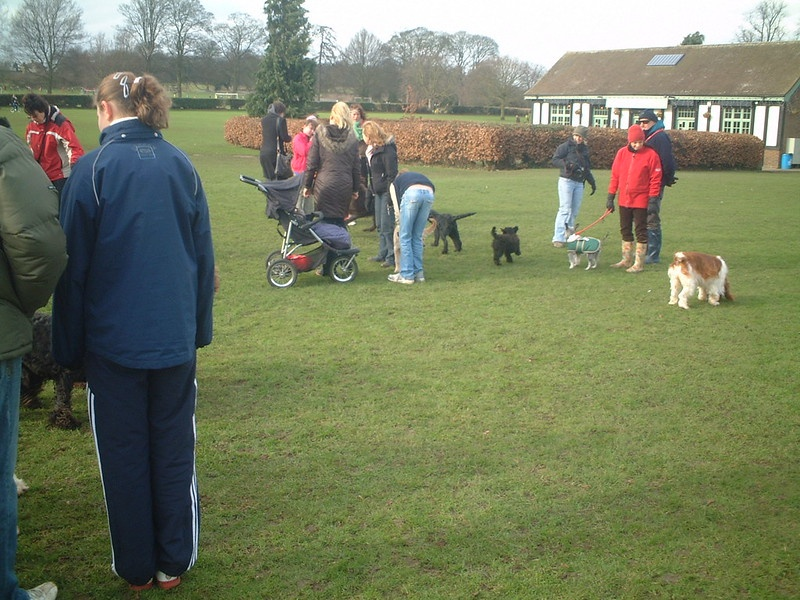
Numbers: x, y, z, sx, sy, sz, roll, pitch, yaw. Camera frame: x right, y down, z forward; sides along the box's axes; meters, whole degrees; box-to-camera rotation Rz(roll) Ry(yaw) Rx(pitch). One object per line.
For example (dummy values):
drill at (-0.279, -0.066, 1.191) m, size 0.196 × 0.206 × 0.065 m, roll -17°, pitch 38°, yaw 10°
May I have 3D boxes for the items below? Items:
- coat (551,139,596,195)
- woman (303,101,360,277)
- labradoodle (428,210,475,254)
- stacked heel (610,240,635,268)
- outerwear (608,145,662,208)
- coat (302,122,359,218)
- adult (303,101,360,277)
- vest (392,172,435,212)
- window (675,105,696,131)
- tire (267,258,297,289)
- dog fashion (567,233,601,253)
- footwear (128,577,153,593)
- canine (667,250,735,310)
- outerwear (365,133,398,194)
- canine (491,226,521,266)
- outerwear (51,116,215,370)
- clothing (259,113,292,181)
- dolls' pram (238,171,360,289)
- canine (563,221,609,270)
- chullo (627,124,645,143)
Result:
coat at (2.854, -2.275, 16.830) m, size 0.540 × 0.756 × 0.844 m, roll 5°, pitch 13°, yaw 20°
woman at (-0.938, -1.668, 14.783) m, size 0.693 × 2.360 × 0.740 m, roll 17°, pitch 23°, yaw 30°
labradoodle at (0.784, -1.135, 16.743) m, size 1.037 × 0.499 × 0.328 m, roll -10°, pitch 6°, yaw -12°
stacked heel at (3.454, -0.710, 15.883) m, size 0.420 × 0.527 × 0.173 m, roll 15°, pitch 36°, yaw 23°
outerwear at (3.419, -1.774, 14.936) m, size 0.765 × 0.935 × 0.411 m, roll 6°, pitch 13°, yaw 25°
coat at (-0.934, -1.630, 14.693) m, size 0.816 × 1.823 × 0.533 m, roll 0°, pitch 21°, yaw -17°
adult at (-0.958, -1.703, 14.783) m, size 0.774 × 2.370 × 0.714 m, roll -17°, pitch 32°, yaw -40°
vest at (0.103, -1.556, 14.083) m, size 0.373 × 0.521 × 0.237 m, roll 6°, pitch 44°, yaw -14°
window at (11.908, -7.623, 42.676) m, size 0.263 × 0.946 × 1.438 m, roll -5°, pitch 13°, yaw -21°
tire at (-1.614, -0.389, 14.078) m, size 0.280 × 0.285 × 0.109 m, roll 32°, pitch 9°, yaw -24°
dog fashion at (2.765, -0.847, 15.426) m, size 0.353 × 0.169 × 0.283 m, roll 4°, pitch 21°, yaw 15°
footwear at (-2.157, 2.389, 8.629) m, size 0.179 × 0.175 × 0.099 m, roll -25°, pitch 66°, yaw -26°
canine at (3.926, -0.302, 13.481) m, size 0.852 × 0.706 × 0.406 m, roll -6°, pitch 13°, yaw -25°
outerwear at (-0.274, -1.910, 15.186) m, size 0.377 × 0.797 × 0.790 m, roll 2°, pitch -9°, yaw -34°
canine at (1.670, -0.864, 16.049) m, size 0.410 × 0.574 × 0.815 m, roll 2°, pitch 13°, yaw 10°
outerwear at (-2.188, -0.445, 8.409) m, size 1.308 × 2.016 × 0.554 m, roll -2°, pitch 12°, yaw -12°
clothing at (-2.361, -2.730, 18.758) m, size 0.472 × 1.401 × 0.332 m, roll 8°, pitch 29°, yaw -5°
dolls' pram at (-1.348, -0.997, 14.231) m, size 1.609 × 1.495 × 1.019 m, roll 1°, pitch 13°, yaw -7°
canine at (2.922, -0.779, 15.685) m, size 0.882 × 0.762 × 0.343 m, roll 9°, pitch 12°, yaw 22°
chullo at (3.397, -2.386, 14.702) m, size 0.209 × 0.256 × 0.291 m, roll 1°, pitch 25°, yaw 4°
